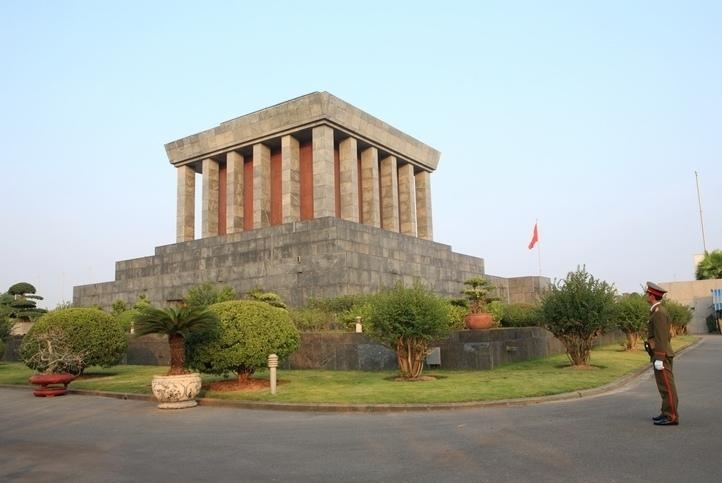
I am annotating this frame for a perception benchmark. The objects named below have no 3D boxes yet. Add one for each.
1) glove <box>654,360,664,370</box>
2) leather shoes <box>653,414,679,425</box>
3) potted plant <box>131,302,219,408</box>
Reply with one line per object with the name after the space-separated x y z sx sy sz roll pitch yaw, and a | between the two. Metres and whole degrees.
6.423 2.666 13.365 0.158 0.084 0.212 -3 -1 10 | glove
6.453 3.816 13.129 0.398 0.157 0.230 7 2 18 | leather shoes
-5.194 3.259 17.744 2.714 2.900 2.652 0 -11 -8 | potted plant
